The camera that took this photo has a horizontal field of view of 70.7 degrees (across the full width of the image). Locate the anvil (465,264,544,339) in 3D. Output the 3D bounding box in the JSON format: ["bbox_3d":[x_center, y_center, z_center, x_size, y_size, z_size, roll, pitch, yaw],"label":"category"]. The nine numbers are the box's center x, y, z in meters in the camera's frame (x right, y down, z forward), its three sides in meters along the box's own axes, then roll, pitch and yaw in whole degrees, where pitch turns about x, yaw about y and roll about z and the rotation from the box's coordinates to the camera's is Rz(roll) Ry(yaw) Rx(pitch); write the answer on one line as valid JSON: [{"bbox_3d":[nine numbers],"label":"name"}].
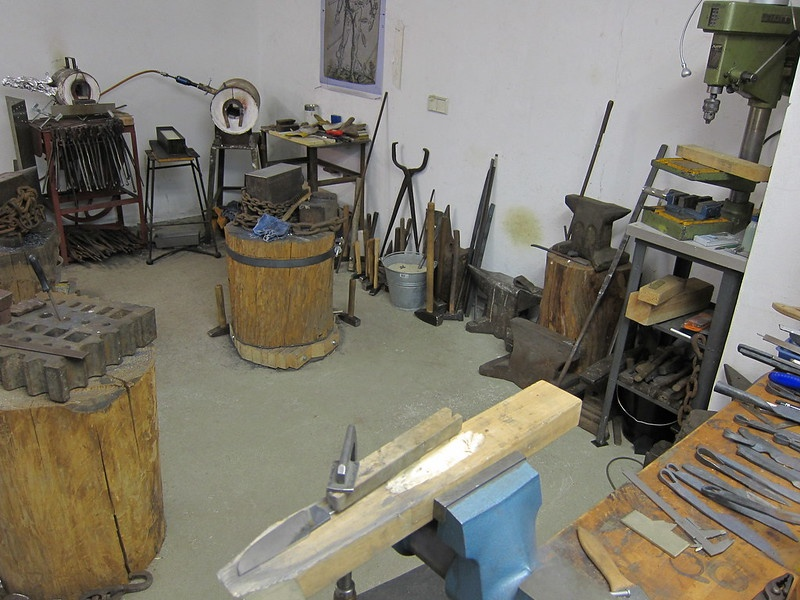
[{"bbox_3d":[0.902,0.019,5.146,0.481,0.723,0.575,-9,23,-31],"label":"anvil"}]

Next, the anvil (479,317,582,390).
[{"bbox_3d":[1.018,0.434,4.454,0.548,0.596,0.668,-9,21,-34],"label":"anvil"}]

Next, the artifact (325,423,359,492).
[{"bbox_3d":[-0.135,0.416,1.495,0.059,0.101,0.198,3,20,4],"label":"artifact"}]

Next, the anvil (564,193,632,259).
[{"bbox_3d":[1.472,-0.561,4.365,0.248,0.421,0.493,-12,28,-29],"label":"anvil"}]

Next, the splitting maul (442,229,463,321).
[{"bbox_3d":[0.538,-0.258,5.398,0.160,0.861,0.318,5,24,7],"label":"splitting maul"}]

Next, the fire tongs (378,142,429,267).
[{"bbox_3d":[0.044,-1.043,5.930,0.369,1.312,0.329,22,29,36],"label":"fire tongs"}]
